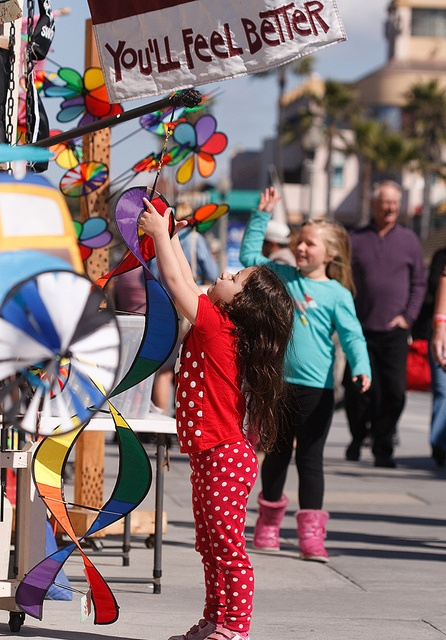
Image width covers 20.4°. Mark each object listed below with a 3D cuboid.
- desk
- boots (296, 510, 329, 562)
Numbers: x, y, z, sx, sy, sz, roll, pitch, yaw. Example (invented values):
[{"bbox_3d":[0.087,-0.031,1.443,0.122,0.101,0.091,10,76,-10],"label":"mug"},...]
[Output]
[{"bbox_3d":[-0.465,0.758,5.453,0.687,0.666,0.739,1,-2,-15],"label":"desk"},{"bbox_3d":[0.397,0.952,5.568,0.139,0.213,0.210,-1,4,3],"label":"boots"}]
